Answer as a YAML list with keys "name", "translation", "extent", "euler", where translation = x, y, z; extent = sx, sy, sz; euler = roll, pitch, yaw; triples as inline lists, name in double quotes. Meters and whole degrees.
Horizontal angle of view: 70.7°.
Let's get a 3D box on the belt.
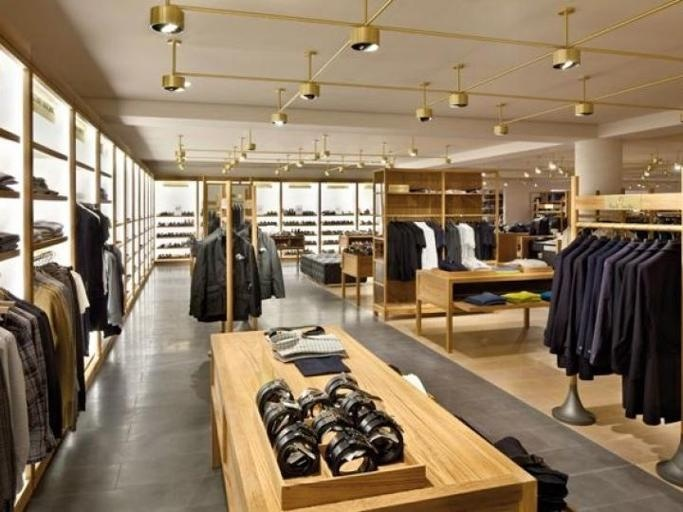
- name: "belt"
  translation: [-0.027, 0.717, 2.034]
  extent: [0.497, 0.140, 0.340]
  euler: [-1, 8, -13]
